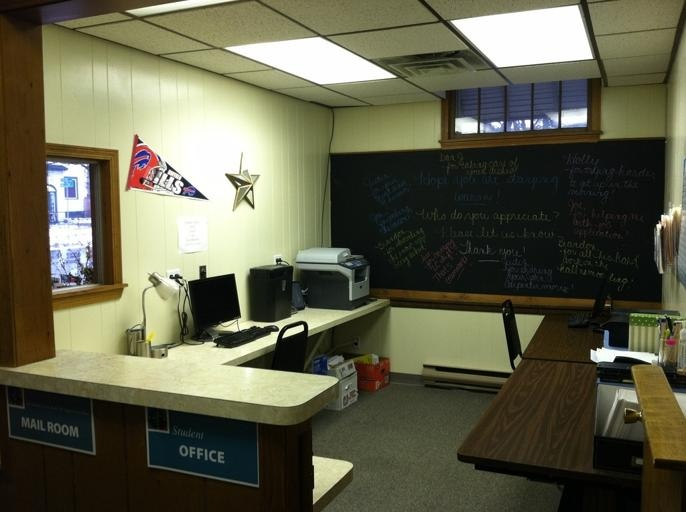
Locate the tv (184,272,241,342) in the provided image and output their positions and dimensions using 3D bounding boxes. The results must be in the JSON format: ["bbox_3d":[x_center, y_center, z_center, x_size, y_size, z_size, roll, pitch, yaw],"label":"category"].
[{"bbox_3d":[-0.969,0.371,3.968,0.145,0.437,0.436,-7,2,34],"label":"tv"}]

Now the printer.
[{"bbox_3d":[-0.095,0.198,5.228,0.608,0.574,0.771,3,4,30],"label":"printer"}]

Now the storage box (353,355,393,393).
[{"bbox_3d":[0.300,1.141,5.360,0.325,0.206,0.332,-1,4,34],"label":"storage box"}]

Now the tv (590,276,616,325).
[{"bbox_3d":[2.199,0.379,4.570,0.234,0.286,0.300,-4,8,27],"label":"tv"}]

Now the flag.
[{"bbox_3d":[-1.240,-0.606,3.746,0.030,0.423,0.634,3,8,29],"label":"flag"}]

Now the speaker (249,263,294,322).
[{"bbox_3d":[-0.600,0.315,4.601,0.225,0.426,0.363,1,1,23],"label":"speaker"}]

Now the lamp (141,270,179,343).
[{"bbox_3d":[-1.217,0.315,3.622,0.252,0.445,0.389,-3,8,-21],"label":"lamp"}]

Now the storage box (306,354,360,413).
[{"bbox_3d":[-0.073,1.156,4.983,0.301,0.404,0.413,3,1,24],"label":"storage box"}]
